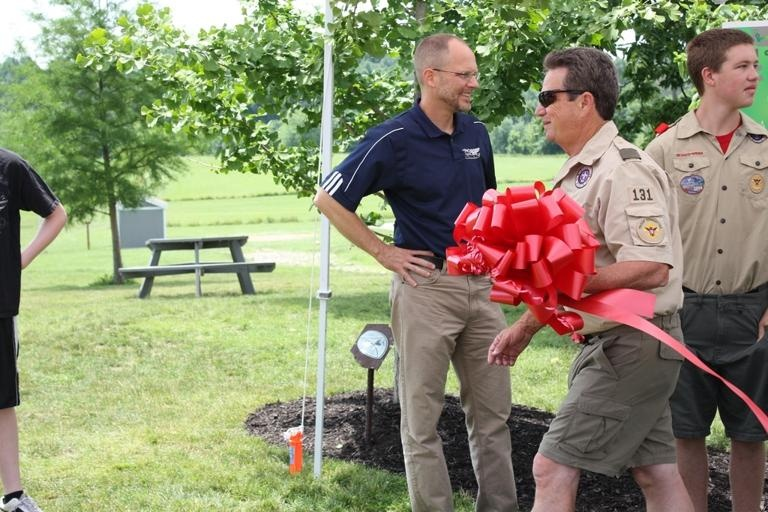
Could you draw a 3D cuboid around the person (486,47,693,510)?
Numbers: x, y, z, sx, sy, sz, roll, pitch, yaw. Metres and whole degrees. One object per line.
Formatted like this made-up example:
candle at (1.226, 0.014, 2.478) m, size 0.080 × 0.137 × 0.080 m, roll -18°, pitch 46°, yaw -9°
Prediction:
person at (1.441, 0.165, 6.934) m, size 1.323 × 3.222 × 0.963 m, roll -2°, pitch 13°, yaw 6°
